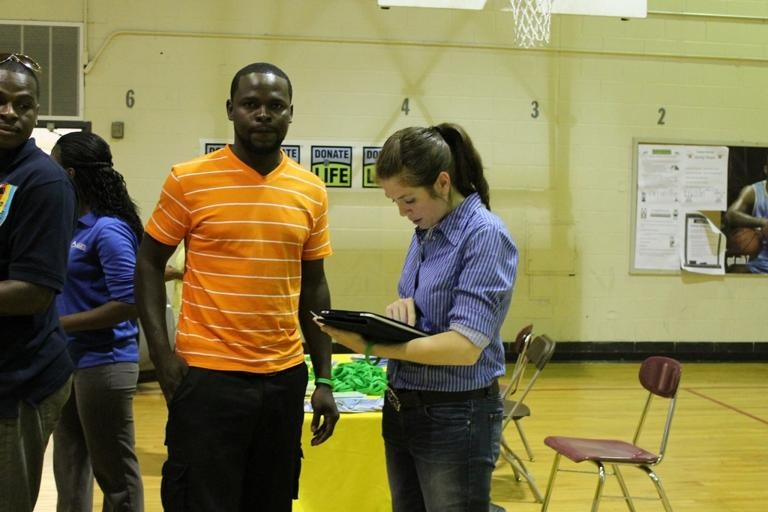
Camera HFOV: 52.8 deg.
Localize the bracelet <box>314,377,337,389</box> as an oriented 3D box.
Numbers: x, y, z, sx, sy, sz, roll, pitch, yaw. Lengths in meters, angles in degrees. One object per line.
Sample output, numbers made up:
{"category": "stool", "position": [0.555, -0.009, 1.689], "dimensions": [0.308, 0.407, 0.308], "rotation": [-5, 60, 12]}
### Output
{"category": "bracelet", "position": [-0.347, 0.764, 4.649], "dimensions": [0.088, 0.030, 0.078], "rotation": [4, 0, -19]}
